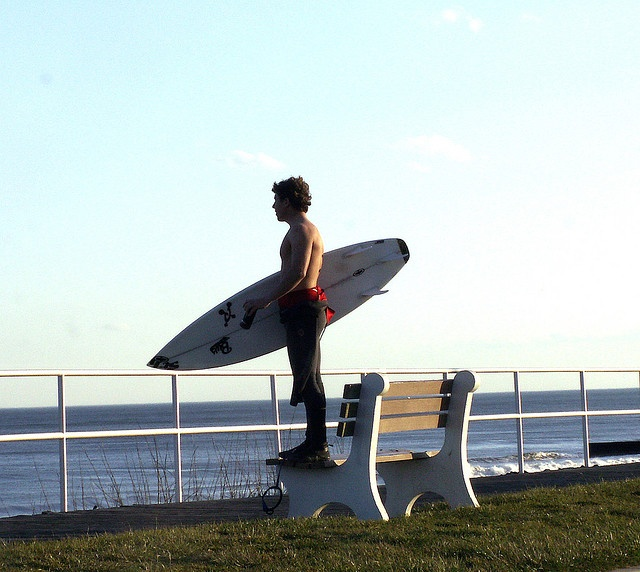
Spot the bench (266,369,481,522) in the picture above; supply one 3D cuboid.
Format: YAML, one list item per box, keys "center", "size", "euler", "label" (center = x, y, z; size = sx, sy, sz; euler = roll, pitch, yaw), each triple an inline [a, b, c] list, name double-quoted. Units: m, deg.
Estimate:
- center: [1.099, 3.001, 22.211]
  size: [2.055, 2.756, 3.319]
  euler: [-3, -4, 41]
  label: "bench"
